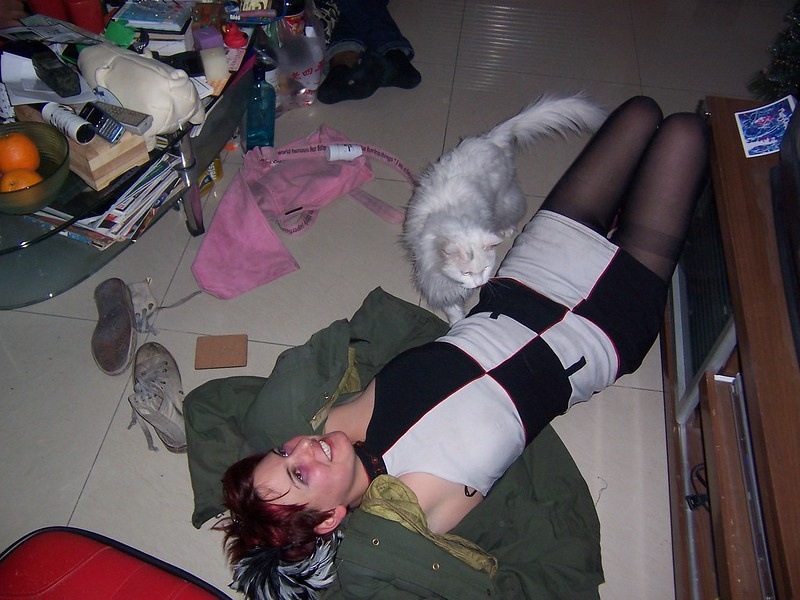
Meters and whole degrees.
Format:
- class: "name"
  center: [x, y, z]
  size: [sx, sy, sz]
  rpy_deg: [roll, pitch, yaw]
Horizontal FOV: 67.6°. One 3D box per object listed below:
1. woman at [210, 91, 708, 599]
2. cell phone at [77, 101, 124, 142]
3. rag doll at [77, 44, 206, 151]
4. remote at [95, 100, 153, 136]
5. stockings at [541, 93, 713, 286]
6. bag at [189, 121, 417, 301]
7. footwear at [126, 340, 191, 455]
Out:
- class: "woman"
  center: [0.221, 0.200, 2.070]
  size: [0.636, 1.771, 0.626]
  rpy_deg: [41, 7, 28]
- class: "cell phone"
  center: [-0.909, -0.547, 1.835]
  size: [0.150, 0.085, 0.035]
  rpy_deg: [46, -7, -1]
- class: "rag doll"
  center: [-0.857, -0.682, 1.933]
  size: [0.394, 0.237, 0.235]
  rpy_deg: [24, 56, 8]
- class: "remote"
  center: [-0.850, -0.587, 1.852]
  size: [0.170, 0.029, 0.090]
  rpy_deg: [35, 70, 1]
- class: "stockings"
  center: [0.832, -0.310, 2.206]
  size: [0.433, 0.787, 0.203]
  rpy_deg: [32, 7, 24]
- class: "bag"
  center: [-0.483, -0.378, 2.607]
  size: [0.827, 0.210, 0.617]
  rpy_deg: [-29, 85, -27]
- class: "footwear"
  center: [-0.944, 0.392, 2.205]
  size: [0.198, 0.177, 0.528]
  rpy_deg: [-4, 54, -29]
